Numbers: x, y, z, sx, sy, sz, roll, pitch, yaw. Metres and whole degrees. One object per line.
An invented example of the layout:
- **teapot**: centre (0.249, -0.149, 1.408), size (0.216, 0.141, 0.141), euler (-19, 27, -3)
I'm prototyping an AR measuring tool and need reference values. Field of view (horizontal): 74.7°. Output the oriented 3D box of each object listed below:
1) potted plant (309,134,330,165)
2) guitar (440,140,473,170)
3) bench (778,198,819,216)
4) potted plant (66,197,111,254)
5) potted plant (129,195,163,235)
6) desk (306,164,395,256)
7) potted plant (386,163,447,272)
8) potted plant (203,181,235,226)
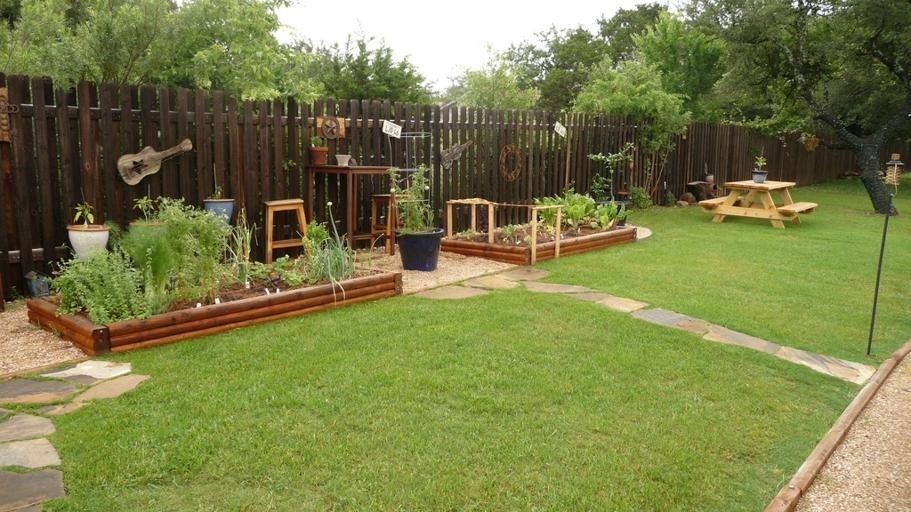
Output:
- **potted plant**: centre (-2.627, -2.028, 11.510), size (0.353, 0.522, 0.376), euler (-3, 15, -11)
- **guitar**: centre (0.031, -2.272, 13.282), size (0.940, 0.404, 0.184), euler (-30, 8, -7)
- **bench**: centre (9.364, -1.246, 16.223), size (0.686, 0.347, 2.033), euler (12, 19, 39)
- **potted plant**: centre (-5.925, -0.358, 9.571), size (0.600, 0.869, 0.601), euler (8, 11, -6)
- **potted plant**: centre (-5.126, -0.742, 9.949), size (0.534, 0.401, 0.524), euler (-11, -6, -42)
- **desk**: centre (-2.359, -0.971, 12.232), size (1.753, 2.204, 1.606), euler (8, 13, 37)
- **potted plant**: centre (-0.780, -0.911, 11.939), size (0.981, 1.831, 2.594), euler (-1, 15, -4)
- **potted plant**: centre (-4.200, -0.881, 10.607), size (0.449, 0.717, 0.610), euler (2, 15, 7)
